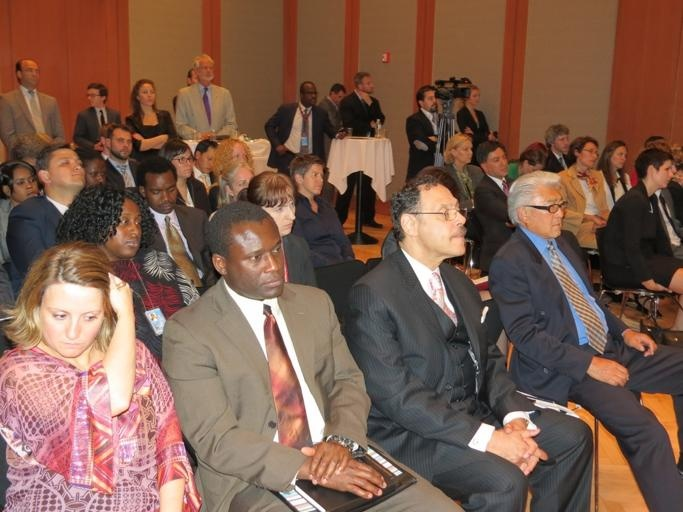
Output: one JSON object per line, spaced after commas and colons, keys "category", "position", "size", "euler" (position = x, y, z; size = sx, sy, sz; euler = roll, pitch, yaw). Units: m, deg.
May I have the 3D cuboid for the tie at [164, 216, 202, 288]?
{"category": "tie", "position": [-0.990, -0.017, 3.684], "size": [0.086, 0.077, 0.512], "euler": [-19, 55, -17]}

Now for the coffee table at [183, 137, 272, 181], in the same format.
{"category": "coffee table", "position": [-1.151, -0.941, 5.771], "size": [0.653, 0.254, 0.725], "euler": [-3, 25, -7]}

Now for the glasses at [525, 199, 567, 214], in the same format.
{"category": "glasses", "position": [1.205, -0.286, 3.448], "size": [0.251, 0.069, 0.092], "euler": [-5, 14, -21]}

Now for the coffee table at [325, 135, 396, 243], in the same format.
{"category": "coffee table", "position": [0.196, -0.948, 8.211], "size": [1.036, 1.917, 1.183], "euler": [-2, 5, -7]}

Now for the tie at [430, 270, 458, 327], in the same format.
{"category": "tie", "position": [0.478, 0.209, 2.872], "size": [0.046, 0.239, 0.136], "euler": [-15, -7, 27]}
